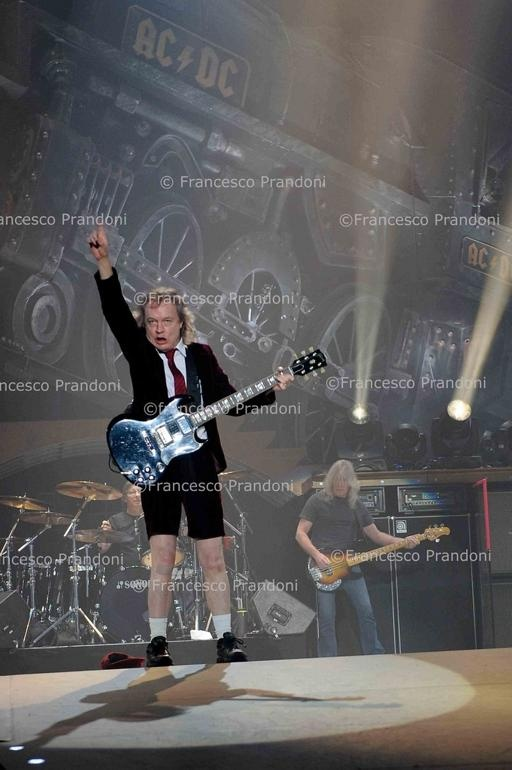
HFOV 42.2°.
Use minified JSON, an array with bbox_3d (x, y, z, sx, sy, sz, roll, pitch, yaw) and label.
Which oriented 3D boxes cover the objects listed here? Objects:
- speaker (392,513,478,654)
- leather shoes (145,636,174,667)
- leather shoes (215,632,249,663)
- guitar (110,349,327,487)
[{"bbox_3d":[0.995,1.118,3.730,0.473,0.742,0.238,-3,-12,7],"label":"speaker"},{"bbox_3d":[-0.377,1.034,2.567,0.092,0.116,0.173,0,-11,-7],"label":"leather shoes"},{"bbox_3d":[-0.127,1.019,2.579,0.089,0.128,0.139,10,-28,-25],"label":"leather shoes"},{"bbox_3d":[-0.200,0.134,3.172,0.808,0.251,0.083,-26,13,-11],"label":"guitar"}]
